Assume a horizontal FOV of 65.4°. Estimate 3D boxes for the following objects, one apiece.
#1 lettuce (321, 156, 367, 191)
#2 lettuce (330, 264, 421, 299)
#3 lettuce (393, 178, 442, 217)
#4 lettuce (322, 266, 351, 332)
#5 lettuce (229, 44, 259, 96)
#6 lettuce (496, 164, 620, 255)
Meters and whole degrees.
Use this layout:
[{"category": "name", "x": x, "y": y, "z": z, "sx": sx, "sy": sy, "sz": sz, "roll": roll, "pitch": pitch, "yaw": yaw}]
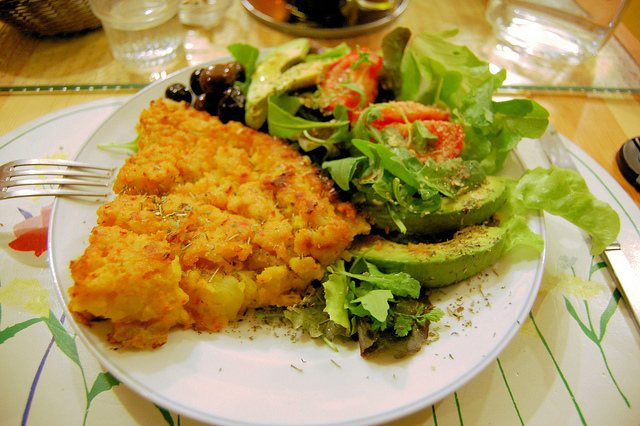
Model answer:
[{"category": "lettuce", "x": 0.111, "y": -0.253, "z": 2.975, "sx": 0.206, "sy": 0.199, "sz": 0.239, "roll": -12, "pitch": 16, "yaw": -30}, {"category": "lettuce", "x": 0.309, "y": 0.380, "z": 2.872, "sx": 0.506, "sy": 0.147, "sz": 0.144, "roll": 11, "pitch": 70, "yaw": 1}, {"category": "lettuce", "x": 0.595, "y": -0.106, "z": 2.928, "sx": 0.224, "sy": 0.092, "sz": 0.261, "roll": -2, "pitch": 32, "yaw": -10}, {"category": "lettuce", "x": 0.091, "y": 0.474, "z": 2.762, "sx": 0.178, "sy": 0.061, "sz": 0.283, "roll": 15, "pitch": 53, "yaw": 0}, {"category": "lettuce", "x": -0.507, "y": -0.922, "z": 3.371, "sx": 0.186, "sy": 0.358, "sz": 0.146, "roll": -23, "pitch": 35, "yaw": -30}, {"category": "lettuce", "x": 1.487, "y": -0.032, "z": 3.123, "sx": 0.629, "sy": 0.220, "sz": 0.616, "roll": -8, "pitch": 43, "yaw": -2}]
